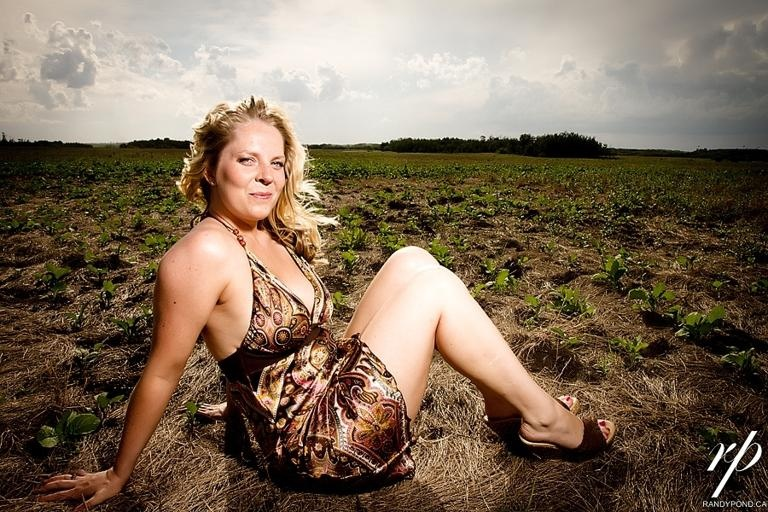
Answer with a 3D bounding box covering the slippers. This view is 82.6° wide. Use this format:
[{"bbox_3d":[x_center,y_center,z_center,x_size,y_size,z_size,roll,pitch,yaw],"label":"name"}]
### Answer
[{"bbox_3d":[1.253,1.336,3.400,1.104,0.333,0.439,-1,25,7],"label":"slippers"}]
